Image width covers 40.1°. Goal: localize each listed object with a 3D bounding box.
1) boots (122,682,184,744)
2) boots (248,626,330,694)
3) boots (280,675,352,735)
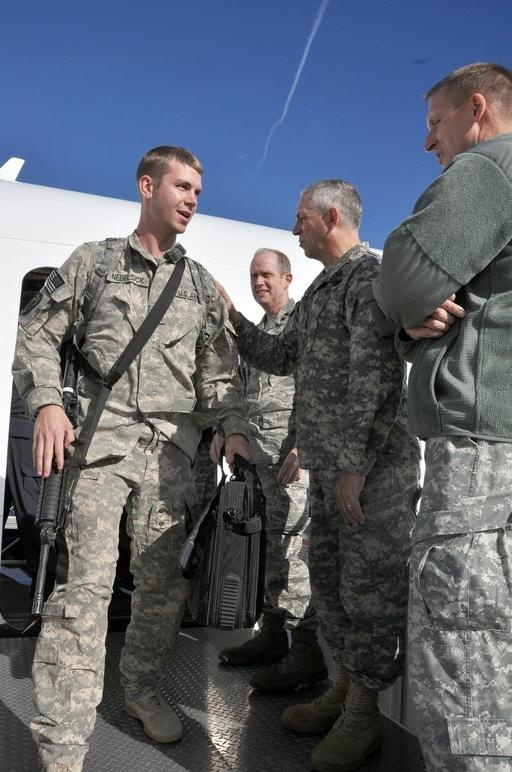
[{"bbox_3d":[-0.363,1.136,2.436,0.104,0.091,0.249,-1,1,-37],"label":"boots"},{"bbox_3d":[0.075,1.153,2.901,0.417,0.272,0.142,7,-14,-30],"label":"boots"},{"bbox_3d":[0.228,1.143,2.520,0.345,0.210,0.122,4,2,-7],"label":"boots"}]
